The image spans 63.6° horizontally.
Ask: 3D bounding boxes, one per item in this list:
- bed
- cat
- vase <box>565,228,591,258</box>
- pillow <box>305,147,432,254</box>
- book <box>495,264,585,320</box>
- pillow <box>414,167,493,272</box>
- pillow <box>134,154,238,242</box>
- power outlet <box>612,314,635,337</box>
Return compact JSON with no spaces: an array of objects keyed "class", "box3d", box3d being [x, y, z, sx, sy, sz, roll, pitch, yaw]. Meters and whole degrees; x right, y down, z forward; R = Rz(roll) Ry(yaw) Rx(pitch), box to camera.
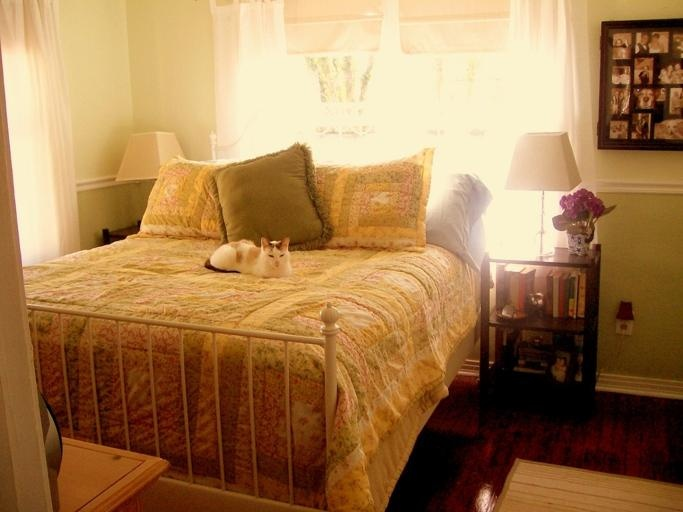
[{"class":"bed","box3d":[-0.430,0.352,1.867,1.154,0.323,1.182,3,9,25]},{"class":"cat","box3d":[-0.394,-0.021,2.436,0.316,0.153,0.192,7,7,27]},{"class":"vase","box3d":[1.195,-0.055,2.800,0.127,0.120,0.111,2,7,16]},{"class":"pillow","box3d":[0.146,-0.270,2.897,0.593,0.458,0.185,2,-21,28]},{"class":"book","box3d":[1.023,0.187,2.843,0.426,0.247,0.125,2,13,8]},{"class":"pillow","box3d":[0.640,-0.195,3.035,0.477,0.496,0.146,19,-2,28]},{"class":"pillow","box3d":[-0.898,-0.320,3.186,0.477,0.494,0.143,-1,-13,36]},{"class":"power outlet","box3d":[1.610,0.405,3.146,0.096,0.096,0.100,10,40,15]}]
